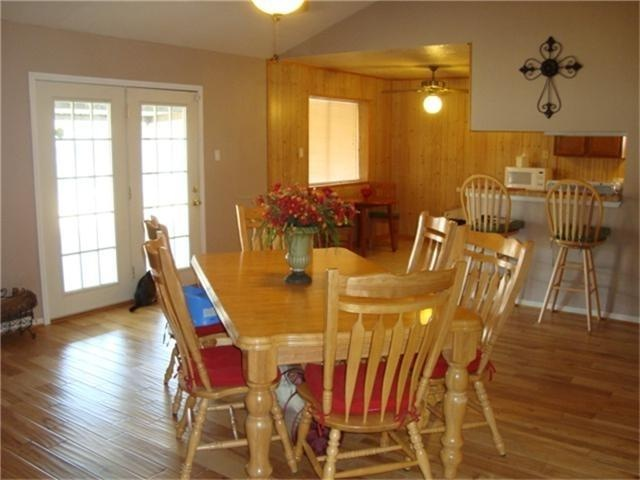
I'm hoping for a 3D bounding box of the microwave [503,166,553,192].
[{"bbox_3d":[2.520,-0.742,6.060,0.387,0.398,0.598,-7,12,-39],"label":"microwave"}]

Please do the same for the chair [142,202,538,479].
[{"bbox_3d":[0.212,0.585,2.940,1.889,1.331,1.371,-3,12,-8],"label":"chair"}]

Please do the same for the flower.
[{"bbox_3d":[-0.128,-0.176,2.997,0.525,0.370,0.536,6,10,27],"label":"flower"}]

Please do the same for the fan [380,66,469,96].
[{"bbox_3d":[1.681,-2.328,7.591,0.795,0.270,0.799,0,2,-16],"label":"fan"}]

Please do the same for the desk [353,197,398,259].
[{"bbox_3d":[0.819,-0.208,7.599,0.754,0.983,0.939,4,10,34],"label":"desk"}]
